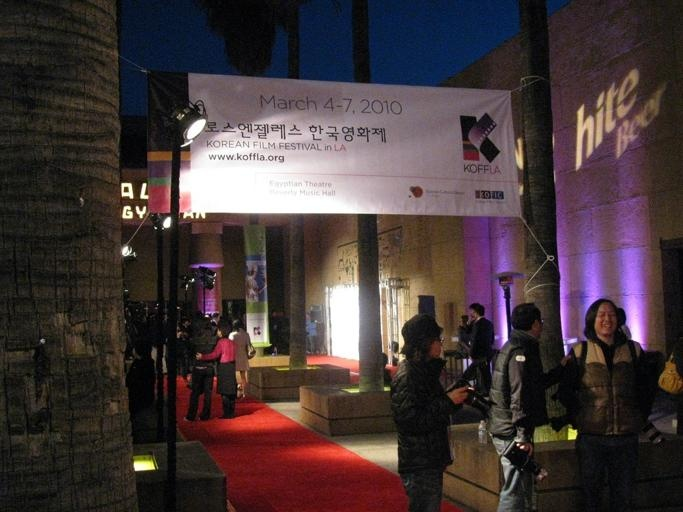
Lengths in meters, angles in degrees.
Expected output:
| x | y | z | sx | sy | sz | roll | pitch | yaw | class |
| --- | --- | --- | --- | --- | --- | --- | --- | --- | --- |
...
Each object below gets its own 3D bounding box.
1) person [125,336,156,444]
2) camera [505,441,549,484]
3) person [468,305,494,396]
| x | y | z | sx | sy | sz | roll | pitch | yaw | class |
| --- | --- | --- | --- | --- | --- | --- | --- | --- | --- |
| -2.916 | 1.878 | 9.651 | 0.385 | 1.298 | 1.924 | -1 | -4 | -16 | person |
| 1.439 | 1.581 | 5.222 | 0.215 | 0.390 | 0.152 | -45 | 9 | 19 | camera |
| 2.739 | 1.838 | 13.095 | 0.625 | 1.787 | 0.538 | -10 | 8 | -38 | person |
